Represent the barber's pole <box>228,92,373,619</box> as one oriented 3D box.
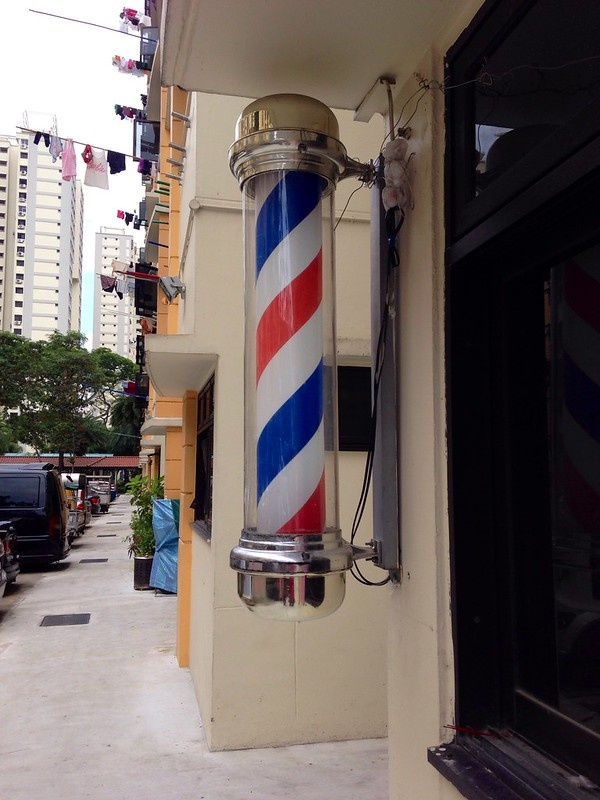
[{"bbox_3d":[-0.014,-0.131,2.447,0.368,1.450,0.415,0,-3,-6],"label":"barber's pole"}]
